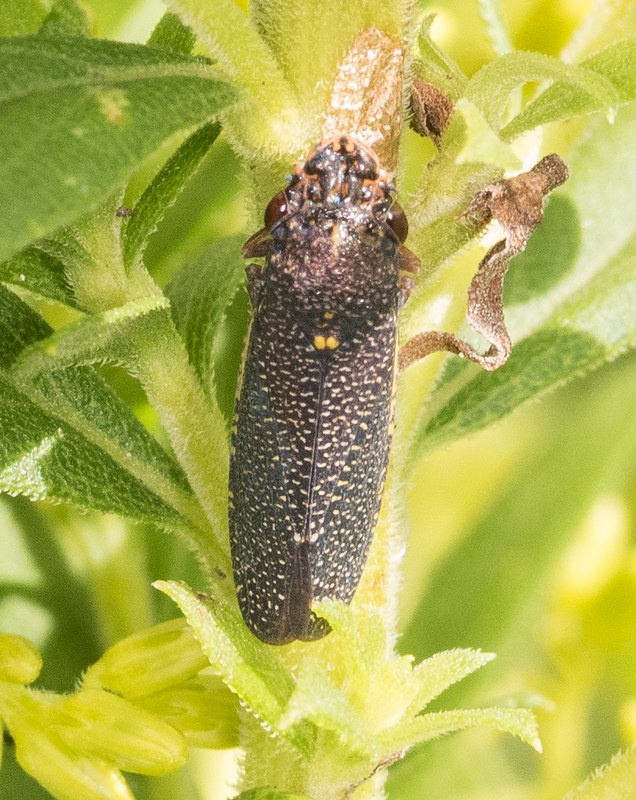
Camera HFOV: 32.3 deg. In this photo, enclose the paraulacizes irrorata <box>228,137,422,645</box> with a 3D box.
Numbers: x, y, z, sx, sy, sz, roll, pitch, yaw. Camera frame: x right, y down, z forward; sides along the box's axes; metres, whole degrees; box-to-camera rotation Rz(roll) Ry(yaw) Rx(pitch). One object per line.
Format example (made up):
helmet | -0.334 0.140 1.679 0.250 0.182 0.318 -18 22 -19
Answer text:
paraulacizes irrorata | -0.006 -0.011 0.911 0.152 0.111 0.385 5 102 -5
